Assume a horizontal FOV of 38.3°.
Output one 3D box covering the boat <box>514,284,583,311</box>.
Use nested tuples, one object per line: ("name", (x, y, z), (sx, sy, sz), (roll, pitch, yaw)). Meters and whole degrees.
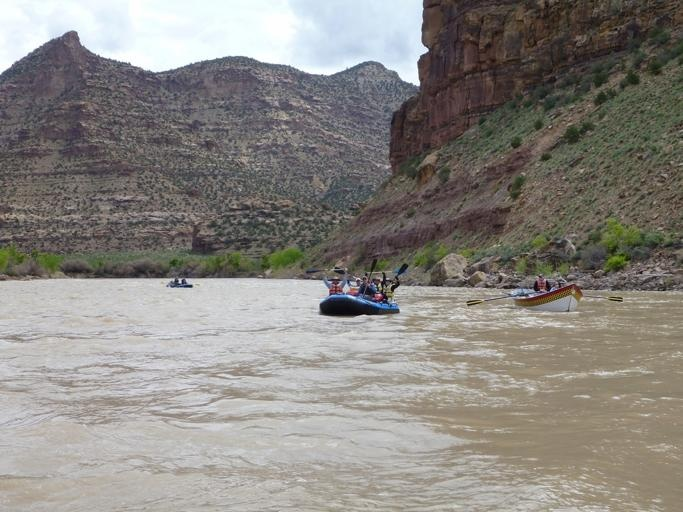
("boat", (12.339, 2.516, 57.797), (0.965, 1.632, 3.949), (0, -3, -34))
